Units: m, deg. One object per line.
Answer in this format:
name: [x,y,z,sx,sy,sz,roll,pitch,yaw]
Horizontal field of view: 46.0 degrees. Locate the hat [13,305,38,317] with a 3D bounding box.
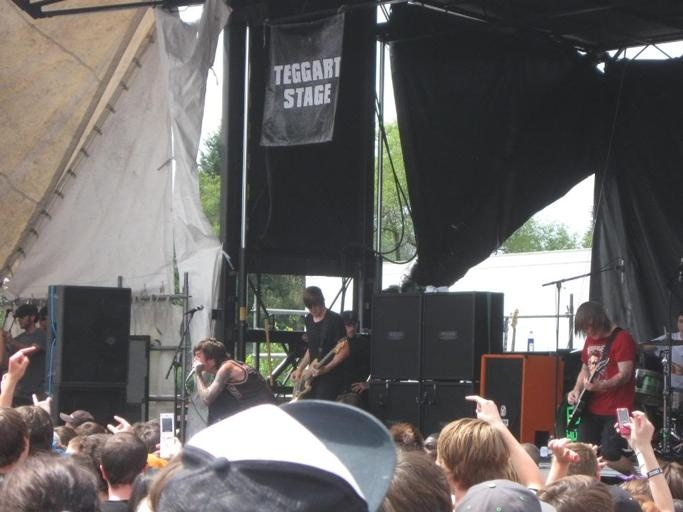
hat: [-3.919,0.659,9.920,0.209,0.113,0.158,1,1,4]

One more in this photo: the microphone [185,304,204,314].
microphone: [-1.644,0.589,8.984,0.072,0.113,0.302,17,-20,-19]
